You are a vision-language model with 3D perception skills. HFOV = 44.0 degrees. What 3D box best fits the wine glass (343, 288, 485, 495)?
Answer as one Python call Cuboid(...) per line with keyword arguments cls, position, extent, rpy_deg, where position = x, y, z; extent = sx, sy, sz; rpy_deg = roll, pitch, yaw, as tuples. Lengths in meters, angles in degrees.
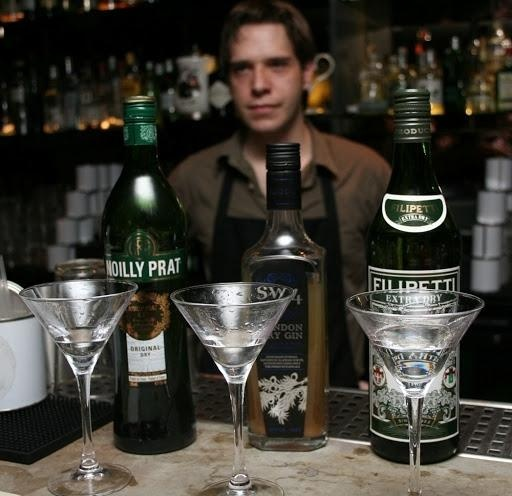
Cuboid(cls="wine glass", position=(0.162, 0.150, 0.650), extent=(0.129, 0.218, 0.155), rpy_deg=(2, 12, 18))
